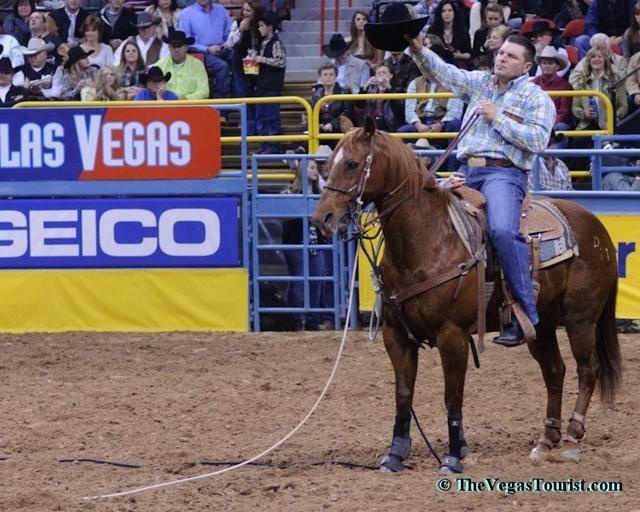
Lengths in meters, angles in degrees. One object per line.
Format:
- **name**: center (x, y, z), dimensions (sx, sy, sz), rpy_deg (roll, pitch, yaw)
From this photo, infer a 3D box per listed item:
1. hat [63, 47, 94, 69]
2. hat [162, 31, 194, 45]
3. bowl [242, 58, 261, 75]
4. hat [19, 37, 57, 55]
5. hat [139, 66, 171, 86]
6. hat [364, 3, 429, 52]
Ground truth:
- **hat**: center (-3.355, -2.782, 22.477), dimensions (0.264, 0.133, 0.348), rpy_deg (-28, 10, 15)
- **hat**: center (-1.958, -3.036, 22.525), dimensions (0.356, 0.148, 0.397), rpy_deg (-1, 3, -1)
- **bowl**: center (-0.953, -2.641, 22.509), dimensions (0.218, 0.172, 0.225), rpy_deg (0, -3, 0)
- **hat**: center (-4.051, -3.017, 23.303), dimensions (0.325, 0.137, 0.338), rpy_deg (-10, 7, 7)
- **hat**: center (-2.195, -2.422, 21.752), dimensions (0.289, 0.136, 0.346), rpy_deg (-1, -9, -9)
- **hat**: center (0.740, -2.298, 16.045), dimensions (0.467, 0.216, 0.559), rpy_deg (-15, -21, 10)
